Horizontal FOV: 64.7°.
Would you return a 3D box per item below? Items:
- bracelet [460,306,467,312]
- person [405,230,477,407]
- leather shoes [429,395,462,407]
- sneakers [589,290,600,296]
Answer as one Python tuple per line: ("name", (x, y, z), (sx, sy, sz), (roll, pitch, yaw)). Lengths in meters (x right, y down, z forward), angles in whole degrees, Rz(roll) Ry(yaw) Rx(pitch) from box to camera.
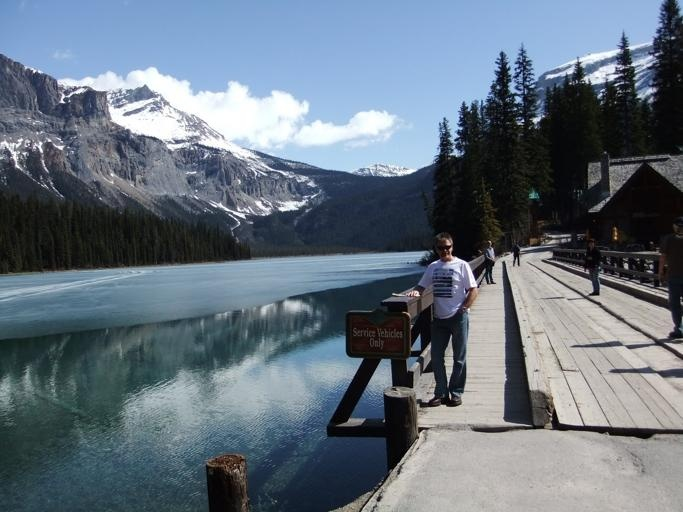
("bracelet", (1.988, 0.817, 8.671), (0.096, 0.103, 0.119), (-3, 6, 13))
("person", (1.757, 1.026, 8.848), (0.927, 2.785, 0.521), (-3, 6, 14))
("leather shoes", (1.707, 2.337, 8.891), (0.523, 0.262, 0.220), (5, -10, 0))
("sneakers", (8.875, 1.296, 18.947), (0.173, 0.191, 0.407), (-3, 5, -25))
